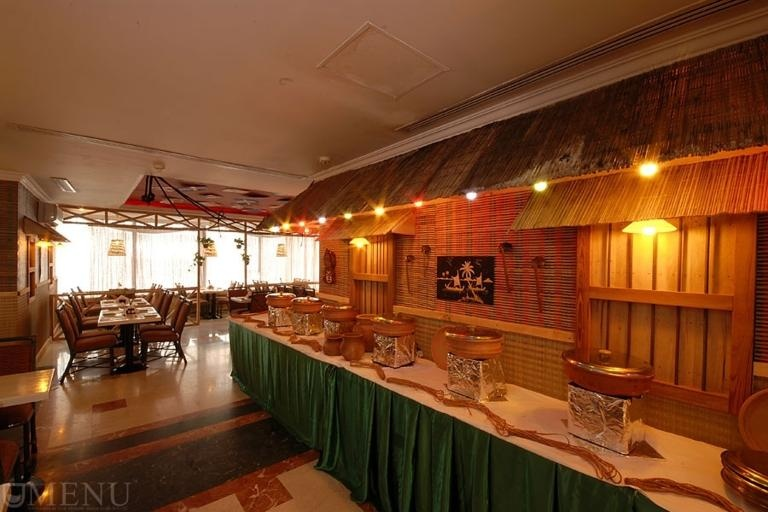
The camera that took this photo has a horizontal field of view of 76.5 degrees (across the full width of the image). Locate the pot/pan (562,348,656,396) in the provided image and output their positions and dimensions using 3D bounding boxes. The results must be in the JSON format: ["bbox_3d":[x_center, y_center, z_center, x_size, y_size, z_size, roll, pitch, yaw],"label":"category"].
[{"bbox_3d":[1.680,0.881,3.690,0.636,0.263,0.653,3,0,-41],"label":"pot/pan"}]

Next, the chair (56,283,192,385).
[{"bbox_3d":[-4.228,1.193,7.918,1.710,1.223,2.122,-4,11,-31],"label":"chair"}]

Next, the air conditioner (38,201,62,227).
[{"bbox_3d":[-5.812,-0.755,8.450,0.314,0.428,0.574,0,-1,-25],"label":"air conditioner"}]

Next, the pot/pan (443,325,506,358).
[{"bbox_3d":[0.765,0.747,4.247,0.556,0.247,0.621,4,2,9],"label":"pot/pan"}]

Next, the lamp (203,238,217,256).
[{"bbox_3d":[-4.157,-0.203,11.611,0.266,0.518,0.898,-2,10,-17],"label":"lamp"}]

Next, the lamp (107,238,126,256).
[{"bbox_3d":[-5.681,-0.193,10.318,0.319,0.399,0.420,-2,-3,44],"label":"lamp"}]
